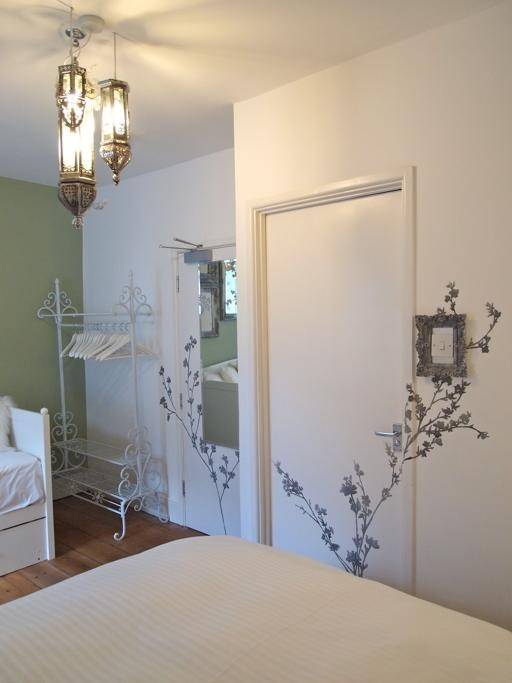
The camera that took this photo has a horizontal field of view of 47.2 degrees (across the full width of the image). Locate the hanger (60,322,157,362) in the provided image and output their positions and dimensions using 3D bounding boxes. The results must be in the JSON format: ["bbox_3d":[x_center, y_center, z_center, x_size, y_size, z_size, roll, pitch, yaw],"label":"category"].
[{"bbox_3d":[-1.009,0.027,3.818,0.413,0.126,0.311,6,8,28],"label":"hanger"}]

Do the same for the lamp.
[{"bbox_3d":[-0.517,-0.709,1.885,0.239,0.700,0.741,-3,8,-16],"label":"lamp"}]

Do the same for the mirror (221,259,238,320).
[{"bbox_3d":[-0.135,-0.305,3.216,0.027,0.327,0.187,-3,4,-29],"label":"mirror"}]
